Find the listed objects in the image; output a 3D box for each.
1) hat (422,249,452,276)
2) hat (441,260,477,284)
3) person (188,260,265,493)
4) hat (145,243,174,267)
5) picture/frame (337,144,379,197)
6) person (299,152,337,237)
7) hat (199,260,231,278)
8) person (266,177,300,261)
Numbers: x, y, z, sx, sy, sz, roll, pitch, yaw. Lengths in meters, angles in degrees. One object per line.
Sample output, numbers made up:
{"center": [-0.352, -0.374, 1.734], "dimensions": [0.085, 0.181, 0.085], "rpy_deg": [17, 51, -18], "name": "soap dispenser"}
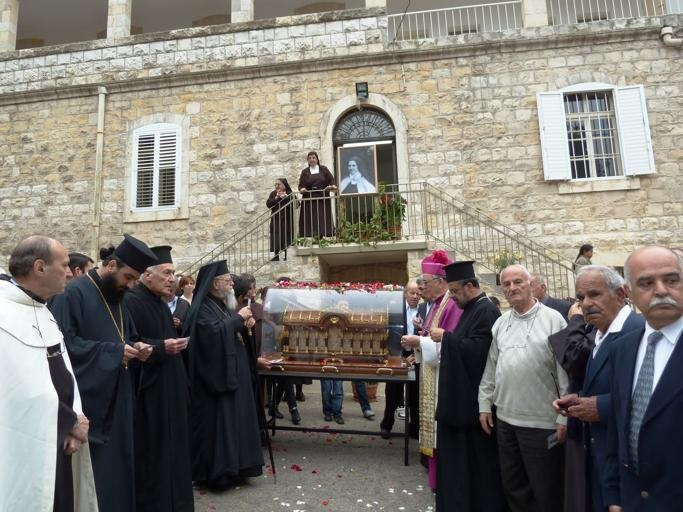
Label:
{"center": [1.174, 0.061, 9.161], "dimensions": [0.343, 0.305, 0.308], "rpy_deg": [1, 3, 7], "name": "hat"}
{"center": [1.352, 0.158, 8.526], "dimensions": [0.288, 0.174, 0.262], "rpy_deg": [-11, 2, 9], "name": "hat"}
{"center": [-1.414, 1.350, 9.020], "dimensions": [0.898, 2.544, 0.968], "rpy_deg": [0, 8, -12], "name": "person"}
{"center": [-2.058, -0.021, 8.469], "dimensions": [0.222, 0.159, 0.220], "rpy_deg": [-10, -11, -6], "name": "hat"}
{"center": [0.289, -1.572, 13.399], "dimensions": [0.957, 1.134, 0.163], "rpy_deg": [-1, -10, 5], "name": "picture/frame"}
{"center": [-0.467, -1.170, 13.768], "dimensions": [0.673, 1.553, 0.945], "rpy_deg": [2, 8, -3], "name": "person"}
{"center": [-1.600, 0.136, 9.286], "dimensions": [0.280, 0.134, 0.232], "rpy_deg": [-6, 5, -25], "name": "hat"}
{"center": [-1.161, -0.740, 13.960], "dimensions": [0.499, 1.471, 1.135], "rpy_deg": [1, 8, -7], "name": "person"}
